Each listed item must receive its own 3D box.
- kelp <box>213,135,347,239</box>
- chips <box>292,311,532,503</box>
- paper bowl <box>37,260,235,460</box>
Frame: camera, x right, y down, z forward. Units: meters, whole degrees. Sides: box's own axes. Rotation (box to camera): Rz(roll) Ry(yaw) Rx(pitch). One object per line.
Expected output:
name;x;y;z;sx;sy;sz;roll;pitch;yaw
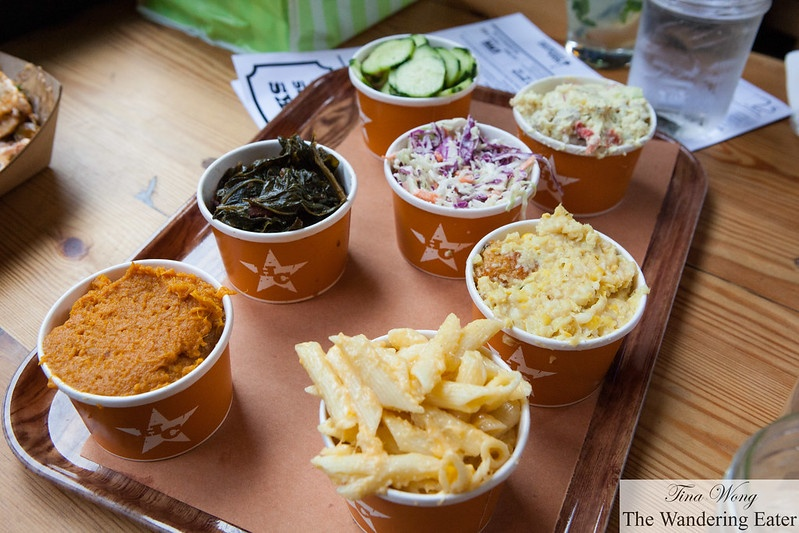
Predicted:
kelp;-0.366;-0.236;2.034;0.336;0.125;0.347;-5;48;3
chips;0.047;0.390;1.704;0.579;0.329;0.557;-1;39;-12
paper bowl;-0.706;0.224;1.845;0.494;0.336;0.541;1;39;-1
